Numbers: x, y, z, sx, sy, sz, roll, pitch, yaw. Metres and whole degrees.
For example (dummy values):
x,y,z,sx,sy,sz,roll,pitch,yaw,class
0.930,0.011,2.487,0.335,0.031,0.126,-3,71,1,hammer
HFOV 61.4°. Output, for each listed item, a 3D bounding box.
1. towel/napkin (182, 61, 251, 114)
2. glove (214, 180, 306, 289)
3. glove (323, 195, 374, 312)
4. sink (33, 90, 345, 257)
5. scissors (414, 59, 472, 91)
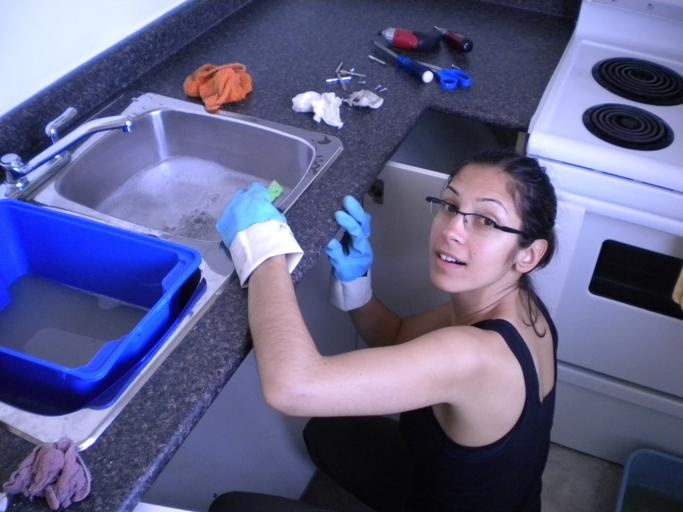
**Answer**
x,y,z,sx,sy,sz,roll,pitch,yaw,class
-0.386,-0.530,1.778,0.177,0.063,0.185,29,59,23,towel/napkin
-0.190,-0.039,1.386,0.161,0.080,0.259,-33,51,11,glove
0.015,-0.003,1.638,0.176,0.273,0.135,24,60,6,glove
-0.520,-0.257,1.727,0.493,0.231,0.622,17,40,17,sink
0.351,-0.623,1.934,0.124,0.043,0.219,-12,46,-15,scissors
